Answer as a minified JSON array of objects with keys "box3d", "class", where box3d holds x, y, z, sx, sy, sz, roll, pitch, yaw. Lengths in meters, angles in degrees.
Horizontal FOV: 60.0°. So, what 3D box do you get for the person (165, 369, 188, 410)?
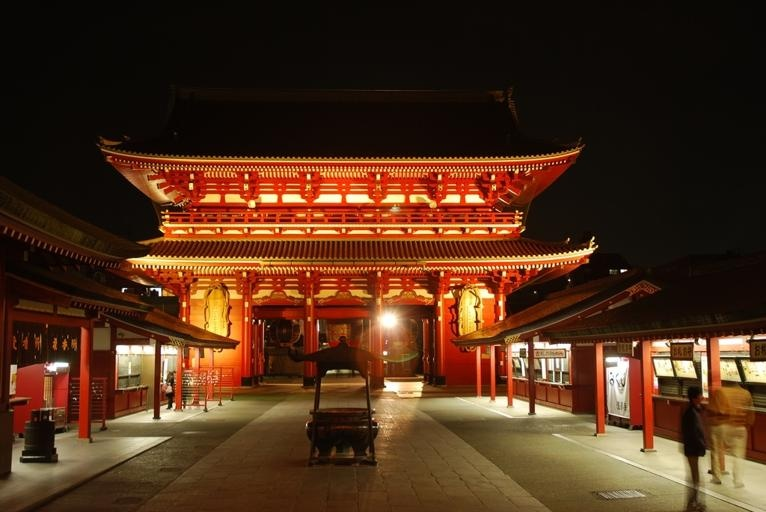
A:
[{"box3d":[-8.098,5.297,26.143,0.622,0.444,1.765,-12,16,-11],"class":"person"}]
